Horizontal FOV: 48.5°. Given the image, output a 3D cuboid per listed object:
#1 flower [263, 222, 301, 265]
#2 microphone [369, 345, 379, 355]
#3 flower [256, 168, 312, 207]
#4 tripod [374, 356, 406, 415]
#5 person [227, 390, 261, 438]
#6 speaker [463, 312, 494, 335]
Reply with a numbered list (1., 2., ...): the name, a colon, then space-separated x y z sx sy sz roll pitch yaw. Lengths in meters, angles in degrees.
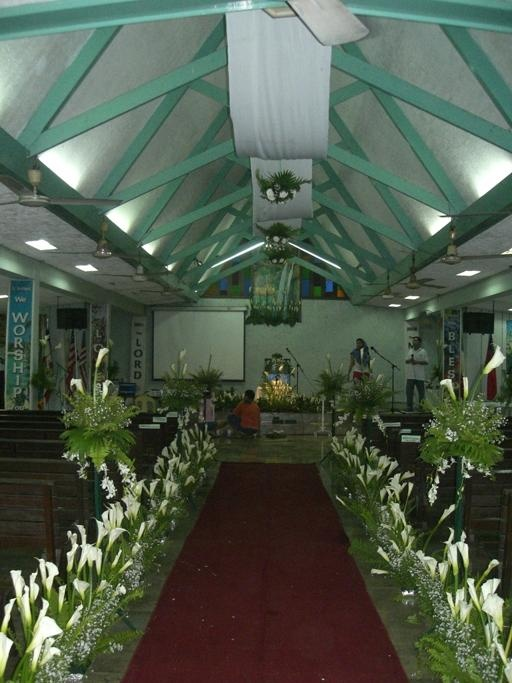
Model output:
1. flower: 0.406 -1.661 9.626 0.634 0.335 0.603 0 -16 -3
2. microphone: 3.294 0.238 16.026 0.143 0.123 0.463 -12 30 -26
3. flower: 0.289 -2.104 7.813 0.516 0.245 0.502 22 -35 -29
4. tripod: 3.464 1.043 15.125 0.904 1.696 0.424 13 27 38
5. person: -0.239 1.200 10.126 0.598 0.752 0.718 -2 14 -18
6. speaker: 4.786 -0.369 12.268 0.809 0.525 0.421 0 -9 11
